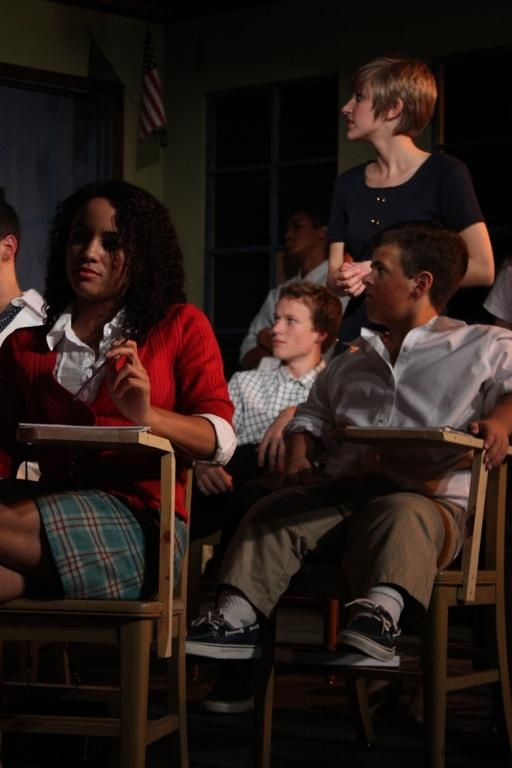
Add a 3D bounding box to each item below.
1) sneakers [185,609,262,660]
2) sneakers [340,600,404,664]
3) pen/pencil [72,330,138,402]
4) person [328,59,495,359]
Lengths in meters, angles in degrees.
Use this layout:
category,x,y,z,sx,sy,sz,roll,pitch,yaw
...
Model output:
category,x,y,z,sx,sy,sz,roll,pitch,yaw
sneakers,-0.077,0.488,1.397,0.065,0.071,0.185,-12,-23,44
sneakers,0.200,0.431,1.295,0.108,0.082,0.186,14,-3,13
pen/pencil,-0.238,-0.024,1.153,0.023,0.158,0.022,40,-11,44
person,0.499,-0.480,2.565,0.622,1.241,0.358,16,26,39
